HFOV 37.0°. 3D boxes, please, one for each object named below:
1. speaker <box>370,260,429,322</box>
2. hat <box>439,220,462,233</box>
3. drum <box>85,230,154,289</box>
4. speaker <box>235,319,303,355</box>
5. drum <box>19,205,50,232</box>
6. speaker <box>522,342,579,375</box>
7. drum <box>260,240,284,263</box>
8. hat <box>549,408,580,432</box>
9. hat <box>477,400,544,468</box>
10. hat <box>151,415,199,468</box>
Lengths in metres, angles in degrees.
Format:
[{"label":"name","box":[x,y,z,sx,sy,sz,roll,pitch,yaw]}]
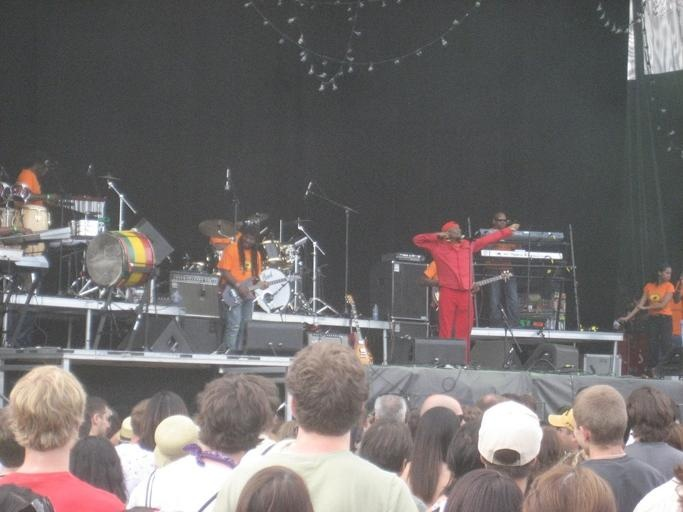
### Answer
[{"label":"speaker","box":[0.906,0.557,15.775,1.265,0.943,1.271,2,-7,-9]},{"label":"hat","box":[1.567,-0.418,14.430,0.271,0.135,0.368,-5,2,24]},{"label":"drum","box":[-2.797,0.092,12.997,0.799,0.713,0.910,2,-5,10]},{"label":"speaker","box":[-0.783,1.075,13.358,0.835,0.435,0.779,0,-2,22]},{"label":"drum","box":[-4.127,-0.519,13.804,0.437,0.425,0.420,2,-5,-22]},{"label":"speaker","box":[2.847,1.361,13.622,0.479,0.324,0.437,4,-1,-35]},{"label":"drum","box":[-1.145,-0.078,16.882,0.330,0.347,0.332,-6,-6,-11]},{"label":"hat","box":[2.167,1.585,9.906,0.298,0.088,0.198,5,33,20]},{"label":"hat","box":[1.354,1.318,8.531,0.438,0.603,0.322,4,-47,-8]},{"label":"hat","box":[-1.426,1.594,8.798,0.451,0.447,0.350,1,-10,3]}]
